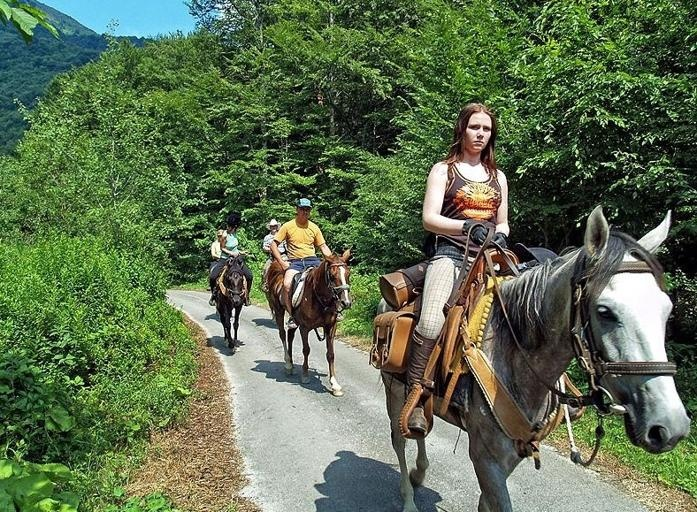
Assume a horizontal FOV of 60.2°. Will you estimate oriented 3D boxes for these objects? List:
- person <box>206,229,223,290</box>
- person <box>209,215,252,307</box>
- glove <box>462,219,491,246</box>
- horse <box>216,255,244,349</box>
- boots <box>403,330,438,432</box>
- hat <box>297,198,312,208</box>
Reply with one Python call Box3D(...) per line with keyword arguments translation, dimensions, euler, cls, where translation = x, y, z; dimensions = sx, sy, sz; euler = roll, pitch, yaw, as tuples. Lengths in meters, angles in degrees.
Box3D(translation=(-3.733, -0.046, 17.085), dimensions=(0.537, 1.687, 0.537), euler=(-1, 4, -32), cls="person")
Box3D(translation=(-3.263, 0.120, 16.795), dimensions=(1.078, 2.639, 1.011), euler=(1, 9, -11), cls="person")
Box3D(translation=(1.595, -0.317, 7.601), dimensions=(0.349, 0.187, 0.273), euler=(19, 44, 1), cls="glove")
Box3D(translation=(-2.928, 1.174, 15.206), dimensions=(0.618, 2.128, 1.318), euler=(-1, 8, -20), cls="horse")
Box3D(translation=(0.960, 1.574, 7.798), dimensions=(0.394, 1.331, 0.541), euler=(13, -7, -13), cls="boots")
Box3D(translation=(-0.966, -1.103, 12.843), dimensions=(0.235, 0.145, 0.354), euler=(2, 6, -14), cls="hat")
